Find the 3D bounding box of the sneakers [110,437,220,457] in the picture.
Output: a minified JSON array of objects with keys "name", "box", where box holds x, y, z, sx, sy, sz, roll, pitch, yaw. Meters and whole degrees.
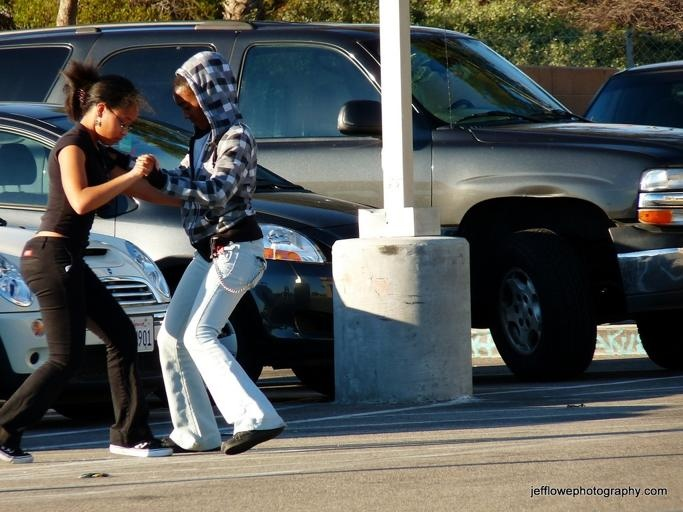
[{"name":"sneakers","box":[-1.050,1.118,6.623,0.596,0.135,0.199,1,-4,-15]}]
